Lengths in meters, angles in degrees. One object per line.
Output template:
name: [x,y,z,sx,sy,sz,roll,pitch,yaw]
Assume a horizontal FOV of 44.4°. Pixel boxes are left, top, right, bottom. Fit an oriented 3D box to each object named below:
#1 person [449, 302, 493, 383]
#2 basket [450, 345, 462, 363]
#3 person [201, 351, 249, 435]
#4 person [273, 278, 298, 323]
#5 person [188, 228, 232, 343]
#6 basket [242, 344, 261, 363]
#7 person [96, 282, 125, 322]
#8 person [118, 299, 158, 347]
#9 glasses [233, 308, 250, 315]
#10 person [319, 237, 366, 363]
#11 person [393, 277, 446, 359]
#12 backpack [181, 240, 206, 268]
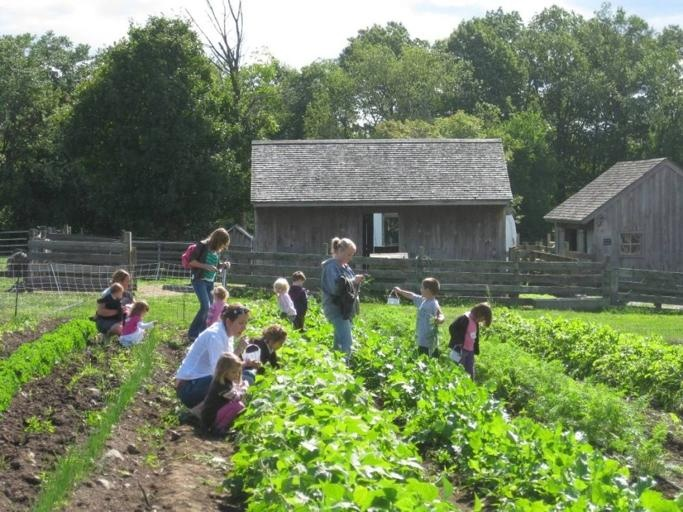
person: [2.163,1.538,14.378,0.597,1.731,0.572,10,23,6]
basket: [1.919,1.670,14.067,0.185,0.275,0.219,2,0,14]
person: [-1.732,2.048,12.488,0.683,1.206,0.586,2,0,10]
person: [-1.033,0.848,15.697,0.395,0.823,0.885,2,0,-13]
person: [-2.441,0.560,15.477,0.763,2.128,0.867,4,-2,9]
basket: [-1.378,1.516,12.905,0.209,0.291,0.257,-2,-5,12]
person: [-4.173,0.840,15.304,0.525,0.879,0.531,1,37,-28]
person: [-3.593,1.210,14.827,0.397,0.821,0.597,1,-1,42]
glasses: [-1.479,0.841,12.778,0.149,0.112,0.275,2,-1,23]
person: [-0.017,0.724,14.220,0.644,1.974,0.618,2,0,13]
person: [1.525,1.246,16.089,0.378,1.478,1.120,5,-4,-26]
backpack: [-2.653,0.003,15.562,0.513,0.622,0.384,9,-1,-31]
